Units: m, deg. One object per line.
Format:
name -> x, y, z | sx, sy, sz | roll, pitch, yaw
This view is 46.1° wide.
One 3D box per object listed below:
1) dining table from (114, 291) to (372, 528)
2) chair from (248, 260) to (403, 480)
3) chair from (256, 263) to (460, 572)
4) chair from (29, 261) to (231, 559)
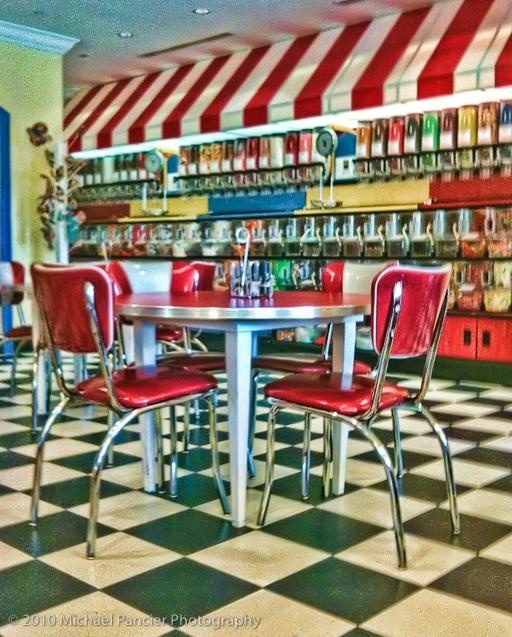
dining table -> -0.202, 0.213, 2.018 | 0.618, 0.447, 0.657 | 4, -3, 36
chair -> 0.416, 0.338, 2.672 | 0.705, 1.037, 0.628 | 6, 3, 28
chair -> 0.360, 0.247, 1.865 | 0.581, 0.798, 0.645 | -2, 3, -36
chair -> -0.444, 0.242, 1.836 | 0.451, 0.795, 0.563 | 1, 3, 29
